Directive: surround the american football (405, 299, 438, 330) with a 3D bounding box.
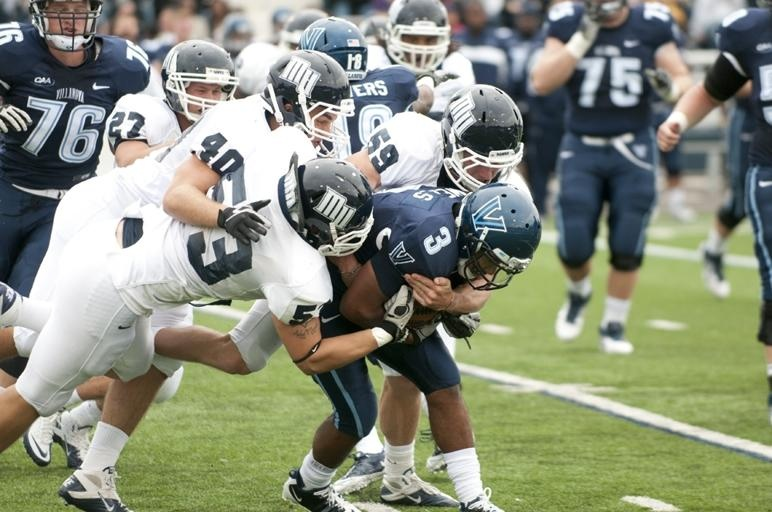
[{"bbox_3d":[0.157,0.257,4.152,0.143,0.141,0.108,-15,34,10],"label":"american football"}]

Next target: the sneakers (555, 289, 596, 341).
[{"bbox_3d":[1.382,0.439,6.719,0.165,0.465,0.185,22,5,9],"label":"sneakers"}]

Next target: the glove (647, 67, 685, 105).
[{"bbox_3d":[1.849,-1.132,6.057,0.114,0.284,0.156,-23,32,42],"label":"glove"}]

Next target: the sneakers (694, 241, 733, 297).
[{"bbox_3d":[2.734,0.110,7.508,0.172,0.233,0.516,-5,58,-6],"label":"sneakers"}]

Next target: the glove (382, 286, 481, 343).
[{"bbox_3d":[0.201,0.261,4.129,0.392,0.160,0.246,1,-14,9],"label":"glove"}]
